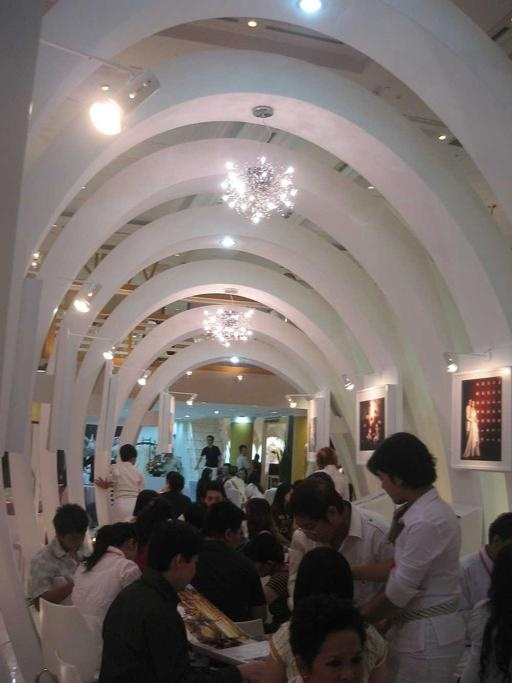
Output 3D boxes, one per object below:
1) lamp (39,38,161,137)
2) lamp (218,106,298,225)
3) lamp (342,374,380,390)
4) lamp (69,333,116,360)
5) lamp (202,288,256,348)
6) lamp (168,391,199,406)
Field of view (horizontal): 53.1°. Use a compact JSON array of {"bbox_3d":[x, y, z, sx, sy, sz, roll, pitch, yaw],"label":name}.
[{"bbox_3d":[-0.862,-1.635,3.192,0.379,0.625,0.686,25,24,24],"label":"lamp"},{"bbox_3d":[0.119,-2.262,7.098,1.086,1.638,1.038,-1,-10,14],"label":"lamp"},{"bbox_3d":[1.817,0.723,9.129,0.341,0.206,0.334,0,-8,-9],"label":"lamp"},{"bbox_3d":[-3.159,0.076,9.969,0.654,0.334,0.653,6,-19,28],"label":"lamp"},{"bbox_3d":[-0.714,-0.674,13.365,1.382,1.422,1.765,2,24,-3],"label":"lamp"},{"bbox_3d":[-2.563,1.947,17.884,0.801,0.215,0.810,1,-6,41],"label":"lamp"}]
